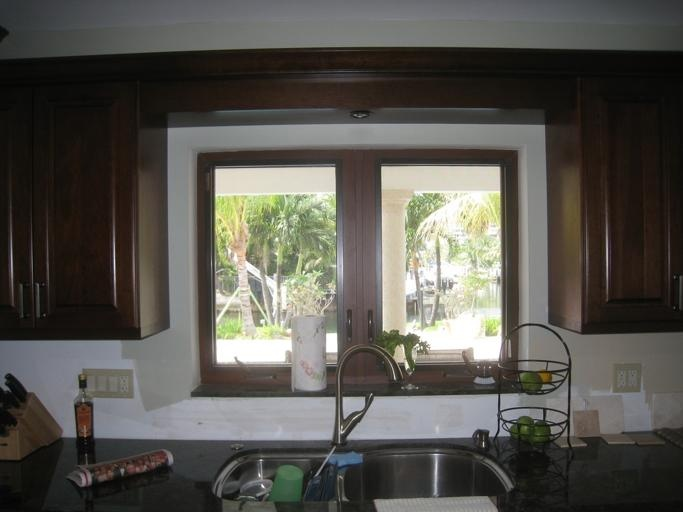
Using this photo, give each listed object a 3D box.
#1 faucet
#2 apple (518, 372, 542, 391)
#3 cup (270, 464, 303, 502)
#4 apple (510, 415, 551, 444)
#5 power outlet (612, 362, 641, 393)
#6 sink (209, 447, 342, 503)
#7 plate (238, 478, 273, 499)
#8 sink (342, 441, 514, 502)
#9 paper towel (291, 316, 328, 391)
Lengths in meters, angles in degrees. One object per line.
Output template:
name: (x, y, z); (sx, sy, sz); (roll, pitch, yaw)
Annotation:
faucet: (0.098, 0.558, 2.389); (0.278, 0.419, 0.168); (1, 13, 7)
apple: (0.791, 0.524, 2.543); (0.085, 0.071, 0.066); (2, 4, 44)
cup: (-0.213, 0.862, 2.357); (0.121, 0.140, 0.122); (5, 0, 0)
apple: (0.806, 0.735, 2.550); (0.141, 0.075, 0.111); (1, -3, 15)
power outlet: (1.310, 0.560, 2.769); (0.134, 0.124, 0.038); (0, 13, 2)
sink: (-0.302, 0.893, 2.499); (0.280, 0.126, 0.232); (3, -3, 0)
plate: (-0.355, 0.961, 2.504); (0.127, 0.039, 0.099); (-1, 14, -1)
sink: (0.353, 0.919, 2.541); (0.388, 0.153, 0.311); (-1, 3, -7)
paper towel: (-0.186, 0.449, 2.803); (0.191, 0.364, 0.192); (-1, -2, -18)
